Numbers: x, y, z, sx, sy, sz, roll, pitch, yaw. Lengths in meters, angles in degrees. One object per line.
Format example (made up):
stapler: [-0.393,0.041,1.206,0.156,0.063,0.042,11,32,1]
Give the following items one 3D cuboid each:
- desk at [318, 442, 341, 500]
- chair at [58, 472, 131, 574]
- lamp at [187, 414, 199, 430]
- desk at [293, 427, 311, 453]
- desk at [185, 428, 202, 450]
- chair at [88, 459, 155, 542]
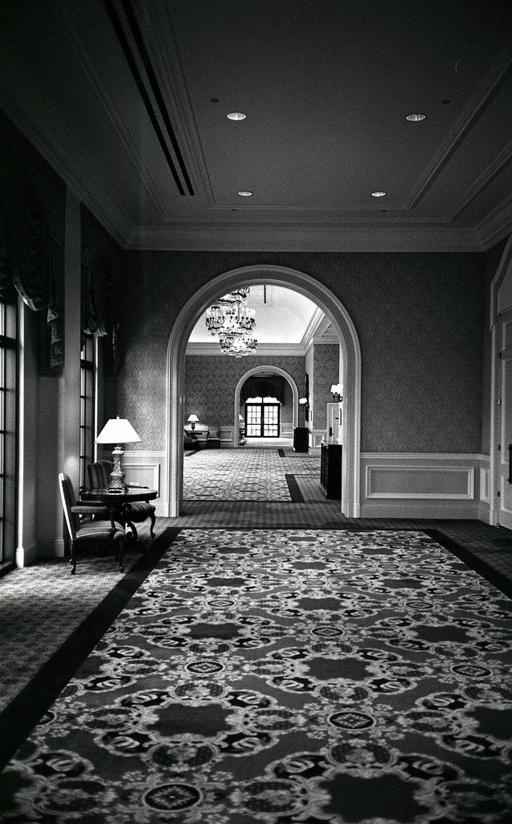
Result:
desk: [1.470,1.212,10.131,0.327,0.962,0.942,0,4,-2]
chair: [-1.732,1.052,5.246,0.792,1.329,0.880,1,-4,-12]
lamp: [-2.904,0.416,22.374,0.469,0.741,0.630,2,-6,-18]
desk: [1.963,1.243,22.276,0.723,1.566,1.488,0,1,1]
desk: [-2.896,1.261,21.792,0.660,1.087,1.008,1,0,5]
chair: [-1.697,1.095,6.424,0.828,1.383,0.902,-1,-2,10]
